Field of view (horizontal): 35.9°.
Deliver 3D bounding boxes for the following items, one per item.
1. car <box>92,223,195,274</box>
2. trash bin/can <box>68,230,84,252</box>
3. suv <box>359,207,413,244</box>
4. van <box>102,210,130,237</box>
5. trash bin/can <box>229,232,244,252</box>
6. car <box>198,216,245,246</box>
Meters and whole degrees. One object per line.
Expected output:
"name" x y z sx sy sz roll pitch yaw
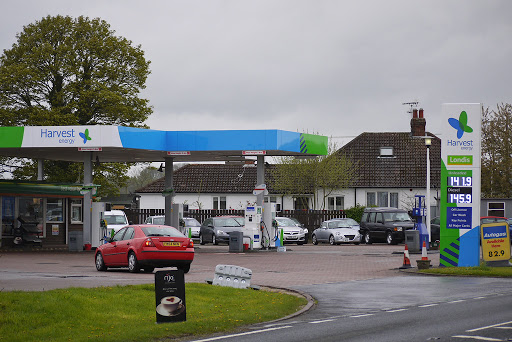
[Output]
"car" -4.435 3.084 31.269 3.731 1.864 1.529 -5 -6 32
"trash bin/can" -9.717 3.799 42.796 0.783 1.121 0.650 0 -5 -16
"suv" 8.564 3.523 50.902 1.453 2.424 4.011 2 -6 -30
"van" -8.554 3.152 48.405 1.491 1.354 2.538 0 -7 -13
"trash bin/can" -1.060 3.899 43.269 0.709 1.129 0.534 -1 -5 3
"car" -2.416 3.883 51.685 1.492 1.129 2.641 1 -6 -26
